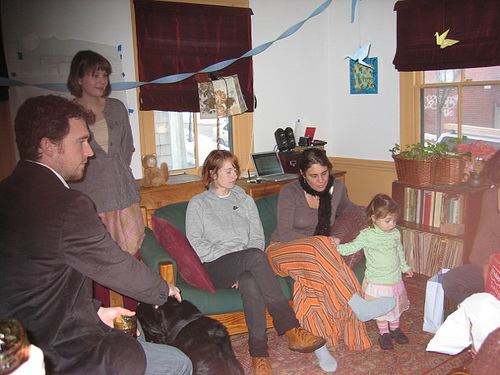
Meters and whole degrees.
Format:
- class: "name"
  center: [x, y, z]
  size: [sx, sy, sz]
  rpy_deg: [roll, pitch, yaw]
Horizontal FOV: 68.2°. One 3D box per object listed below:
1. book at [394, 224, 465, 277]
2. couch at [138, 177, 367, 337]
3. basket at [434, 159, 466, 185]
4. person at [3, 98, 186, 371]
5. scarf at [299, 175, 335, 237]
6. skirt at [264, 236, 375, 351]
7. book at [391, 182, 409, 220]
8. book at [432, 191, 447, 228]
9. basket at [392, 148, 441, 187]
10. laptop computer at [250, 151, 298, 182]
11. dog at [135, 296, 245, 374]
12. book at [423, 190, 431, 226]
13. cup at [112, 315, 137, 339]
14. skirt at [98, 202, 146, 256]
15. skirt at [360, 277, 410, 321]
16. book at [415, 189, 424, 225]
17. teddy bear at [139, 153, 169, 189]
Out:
- class: "book"
  center: [1.633, 0.634, 3.590]
  size: [0.890, 0.461, 0.307]
  rpy_deg: [-1, -3, -24]
- class: "couch"
  center: [-0.224, 0.693, 3.084]
  size: [0.834, 0.795, 1.709]
  rpy_deg: [20, 2, 42]
- class: "basket"
  center: [1.852, -0.153, 3.471]
  size: [0.258, 0.194, 0.236]
  rpy_deg: [1, 4, -30]
- class: "person"
  center: [-0.756, 0.032, 2.061]
  size: [1.020, 1.713, 0.682]
  rpy_deg: [1, 17, -34]
- class: "scarf"
  center: [0.546, 0.142, 2.802]
  size: [0.247, 0.417, 0.097]
  rpy_deg: [-1, 3, -8]
- class: "skirt"
  center: [0.462, 0.895, 2.812]
  size: [0.972, 0.328, 0.607]
  rpy_deg: [4, 8, 32]
- class: "book"
  center: [1.397, 0.118, 3.422]
  size: [0.119, 0.343, 0.373]
  rpy_deg: [2, 4, 28]
- class: "book"
  center: [1.746, 0.213, 3.425]
  size: [0.108, 0.334, 0.140]
  rpy_deg: [3, 15, 29]
- class: "basket"
  center: [1.628, -0.208, 3.620]
  size: [0.311, 0.335, 0.479]
  rpy_deg: [-12, 17, -36]
- class: "laptop computer"
  center: [0.270, -0.234, 4.011]
  size: [0.391, 0.281, 0.371]
  rpy_deg: [-12, 15, -31]
- class: "dog"
  center: [-0.343, 0.769, 1.976]
  size: [0.640, 0.346, 0.238]
  rpy_deg: [3, 15, 29]
- class: "book"
  center: [1.688, 0.197, 3.531]
  size: [0.059, 0.311, 0.042]
  rpy_deg: [2, 15, 27]
- class: "cup"
  center: [-0.536, 0.591, 1.613]
  size: [0.110, 0.076, 0.109]
  rpy_deg: [-2, 1, 0]
- class: "skirt"
  center: [-0.956, 0.285, 2.691]
  size: [0.291, 0.371, 0.200]
  rpy_deg: [8, 28, -5]
- class: "skirt"
  center: [0.964, 0.781, 2.663]
  size: [0.302, 0.157, 0.294]
  rpy_deg: [-4, 9, -16]
- class: "book"
  center: [1.638, 0.178, 3.578]
  size: [0.061, 0.256, 0.259]
  rpy_deg: [-2, 10, 16]
- class: "teddy bear"
  center: [-0.913, -0.186, 3.565]
  size: [0.299, 0.324, 0.318]
  rpy_deg: [10, 16, 38]
